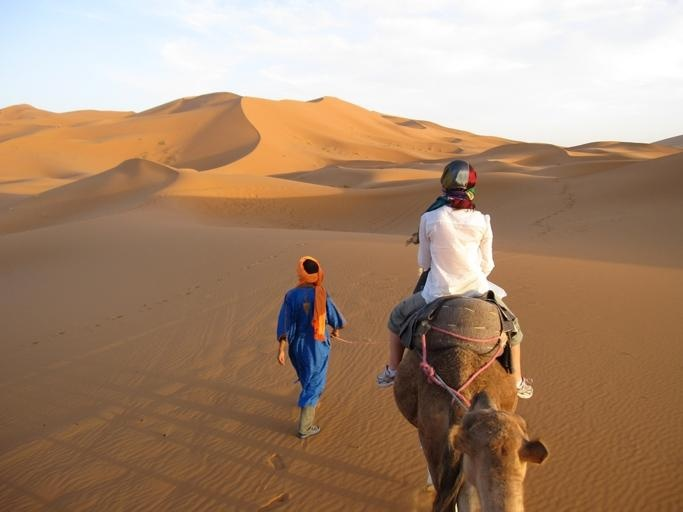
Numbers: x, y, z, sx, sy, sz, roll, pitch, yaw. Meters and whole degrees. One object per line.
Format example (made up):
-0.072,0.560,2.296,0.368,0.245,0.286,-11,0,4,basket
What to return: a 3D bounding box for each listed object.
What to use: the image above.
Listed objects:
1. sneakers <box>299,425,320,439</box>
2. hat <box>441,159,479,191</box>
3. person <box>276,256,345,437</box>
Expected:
-0.571,3.136,10.951,0.434,0.153,0.296,-11,0,-30,sneakers
1.669,-1.140,8.833,0.525,0.433,0.373,8,7,10,hat
-0.573,1.632,10.799,1.125,3.155,0.633,-3,13,-14,person
